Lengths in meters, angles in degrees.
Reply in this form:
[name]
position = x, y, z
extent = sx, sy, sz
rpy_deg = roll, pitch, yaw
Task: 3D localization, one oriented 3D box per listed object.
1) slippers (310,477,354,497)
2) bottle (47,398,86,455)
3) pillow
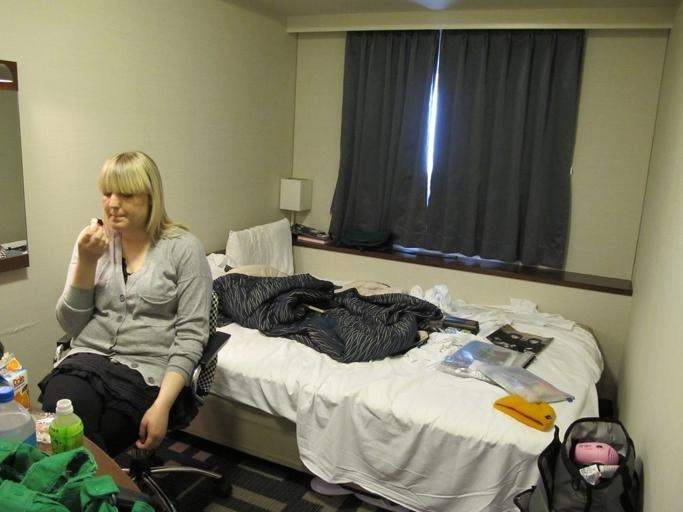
[slippers]
position = -0.060, 1.193, 2.483
extent = 0.152, 0.036, 0.095
rpy_deg = 9, 19, 16
[bottle]
position = -0.863, 0.558, 1.517
extent = 0.090, 0.225, 0.088
rpy_deg = 6, 17, -2
[pillow]
position = -0.655, -0.038, 3.909
extent = 0.136, 0.441, 0.776
rpy_deg = -11, 9, 31
